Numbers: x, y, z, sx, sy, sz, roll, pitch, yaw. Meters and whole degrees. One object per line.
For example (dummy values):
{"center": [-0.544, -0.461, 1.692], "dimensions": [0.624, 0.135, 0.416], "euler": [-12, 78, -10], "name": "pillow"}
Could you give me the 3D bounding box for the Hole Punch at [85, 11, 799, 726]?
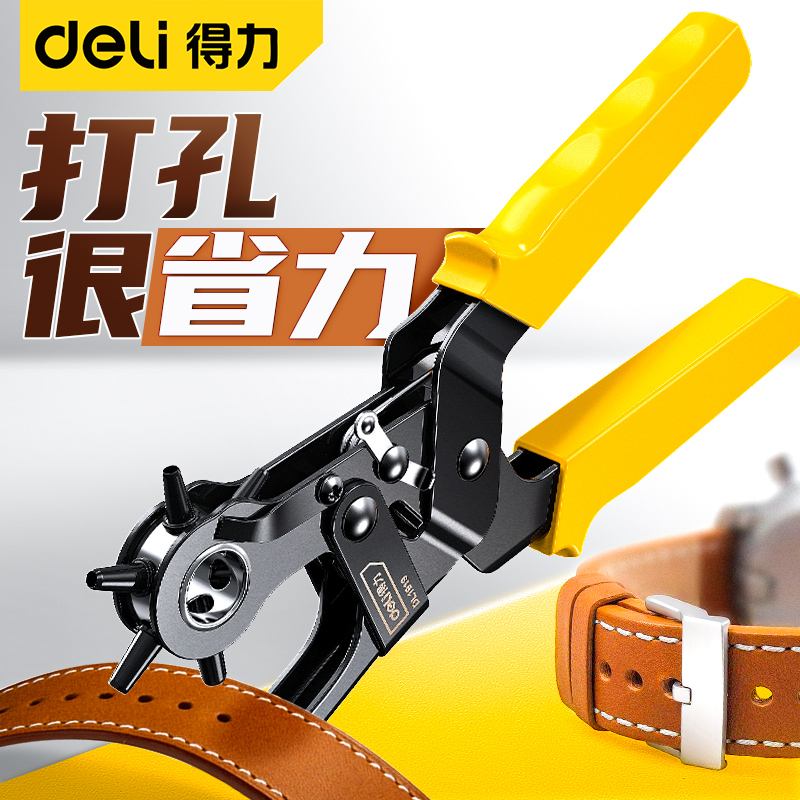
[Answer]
{"center": [0.092, -0.005, 0.557], "dimensions": [0.238, 0.155, 0.575], "euler": [44, 67, 0], "name": "Hole Punch"}
